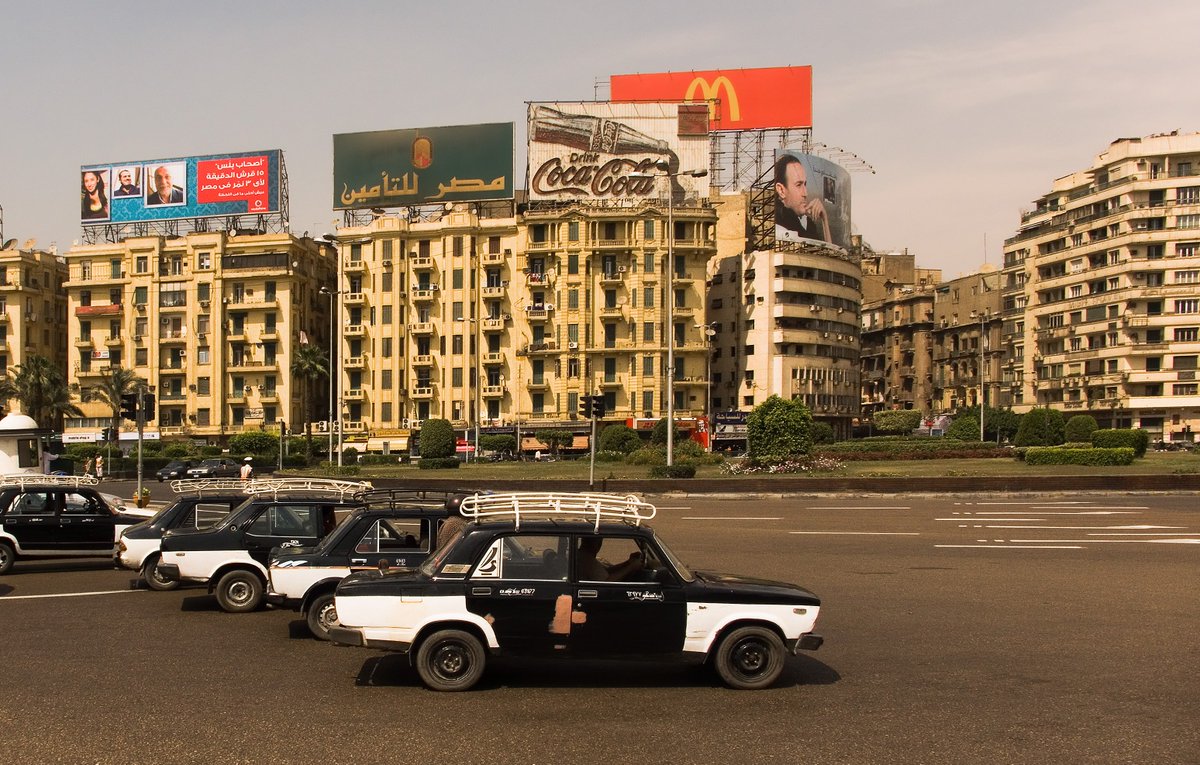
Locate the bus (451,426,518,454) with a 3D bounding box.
[{"bbox_3d":[-9.411,4.597,142.104,5.088,2.307,8.826,-1,-3,-5],"label":"bus"}]

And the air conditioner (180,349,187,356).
[{"bbox_3d":[-36.474,-2.701,151.453,0.648,0.389,0.325,-1,-5,-1],"label":"air conditioner"}]

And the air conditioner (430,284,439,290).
[{"bbox_3d":[-14.112,-8.166,147.860,0.657,0.577,0.388,-1,3,-5],"label":"air conditioner"}]

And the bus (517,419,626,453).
[{"bbox_3d":[-3.929,4.419,143.258,5.499,2.657,4.646,-2,-4,28],"label":"bus"}]

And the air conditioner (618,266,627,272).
[{"bbox_3d":[1.846,-9.548,146.177,0.681,0.565,0.450,0,-10,2],"label":"air conditioner"}]

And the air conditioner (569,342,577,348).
[{"bbox_3d":[-2.367,-3.203,146.506,0.876,0.552,0.443,-1,-10,6],"label":"air conditioner"}]
